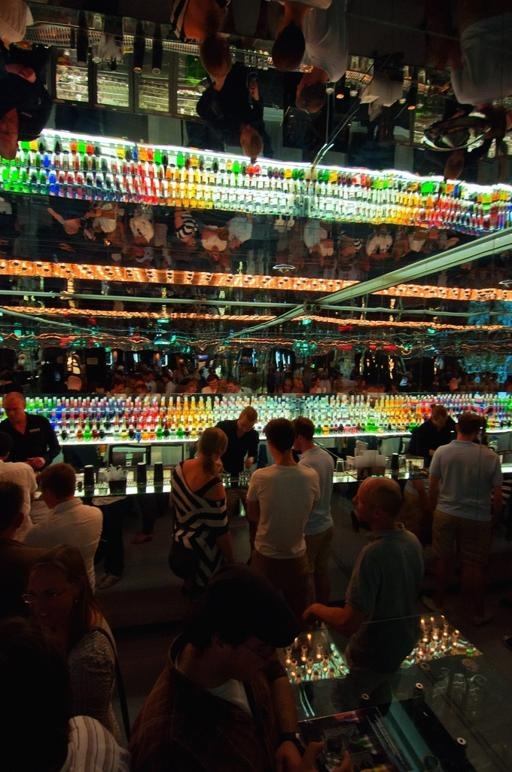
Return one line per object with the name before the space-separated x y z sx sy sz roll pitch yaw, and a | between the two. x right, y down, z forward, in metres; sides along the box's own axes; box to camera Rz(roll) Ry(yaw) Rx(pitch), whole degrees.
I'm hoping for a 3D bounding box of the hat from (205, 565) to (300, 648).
hat | -0.010 0.620 1.647 0.257 0.202 0.116 1 6 2
